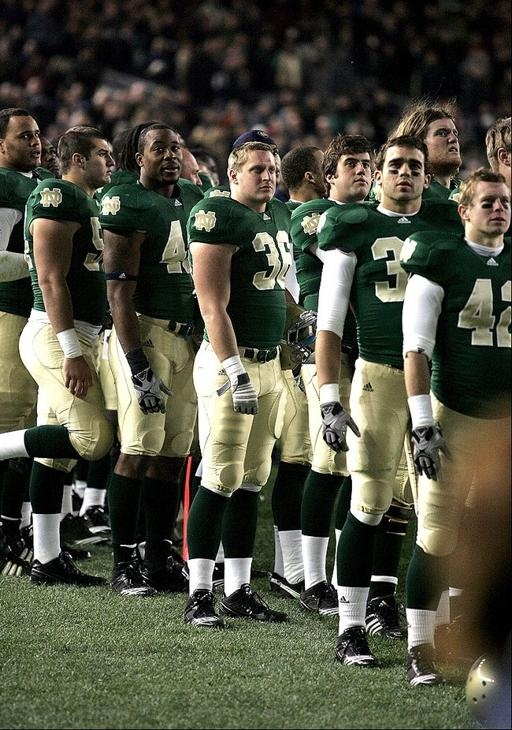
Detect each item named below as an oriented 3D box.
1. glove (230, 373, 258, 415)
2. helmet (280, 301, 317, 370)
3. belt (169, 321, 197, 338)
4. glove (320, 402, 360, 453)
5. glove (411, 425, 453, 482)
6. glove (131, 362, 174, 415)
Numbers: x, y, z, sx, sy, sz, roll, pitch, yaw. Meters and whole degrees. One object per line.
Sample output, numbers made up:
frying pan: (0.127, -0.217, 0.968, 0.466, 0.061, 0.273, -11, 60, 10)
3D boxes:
glove: (-0.048, 0.101, 3.139, 0.063, 0.135, 0.092, -9, -10, 32)
helmet: (0.184, -0.116, 3.853, 0.151, 0.299, 0.419, -1, 4, 4)
belt: (-0.316, -0.150, 3.709, 0.090, 0.028, 0.063, 13, 1, -14)
glove: (0.251, 0.199, 2.817, 0.131, 0.153, 0.072, -26, 9, -29)
glove: (0.510, 0.265, 2.568, 0.147, 0.145, 0.071, -3, -7, 19)
glove: (-0.414, 0.103, 3.489, 0.117, 0.192, 0.145, 3, 6, 39)
